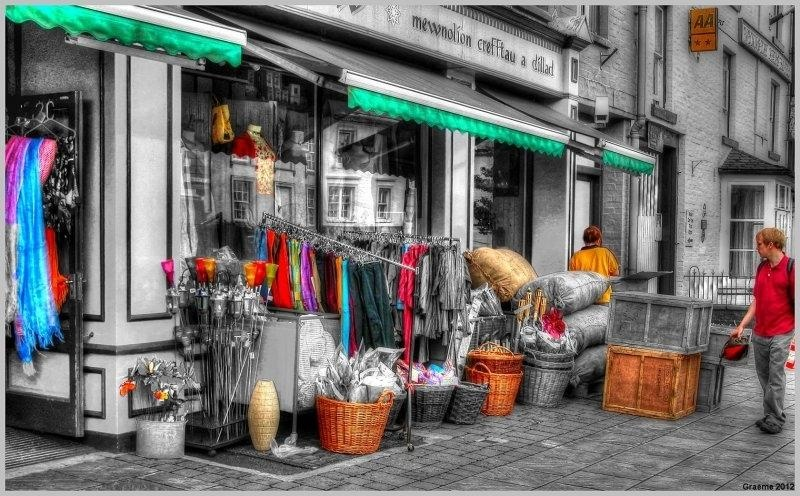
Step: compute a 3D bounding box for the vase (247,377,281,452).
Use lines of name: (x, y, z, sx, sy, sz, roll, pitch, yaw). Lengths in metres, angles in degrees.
vase: (-1.635, 2.002, 9.811, 0.367, 0.793, 0.318, 0, 11, -11)

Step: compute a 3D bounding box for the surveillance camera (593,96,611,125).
surveillance camera: (4.168, -2.870, 16.880, 0.274, 0.520, 0.406, 3, 10, 7)

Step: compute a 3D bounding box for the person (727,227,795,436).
person: (4.990, 1.083, 10.899, 0.506, 2.656, 0.727, 2, 10, 3)

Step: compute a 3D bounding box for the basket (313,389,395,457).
basket: (-0.565, 2.074, 9.816, 0.868, 0.720, 0.308, 1, 10, -7)

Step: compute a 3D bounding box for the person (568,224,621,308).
person: (3.498, 0.531, 14.411, 0.835, 1.744, 0.638, -1, 6, 38)
